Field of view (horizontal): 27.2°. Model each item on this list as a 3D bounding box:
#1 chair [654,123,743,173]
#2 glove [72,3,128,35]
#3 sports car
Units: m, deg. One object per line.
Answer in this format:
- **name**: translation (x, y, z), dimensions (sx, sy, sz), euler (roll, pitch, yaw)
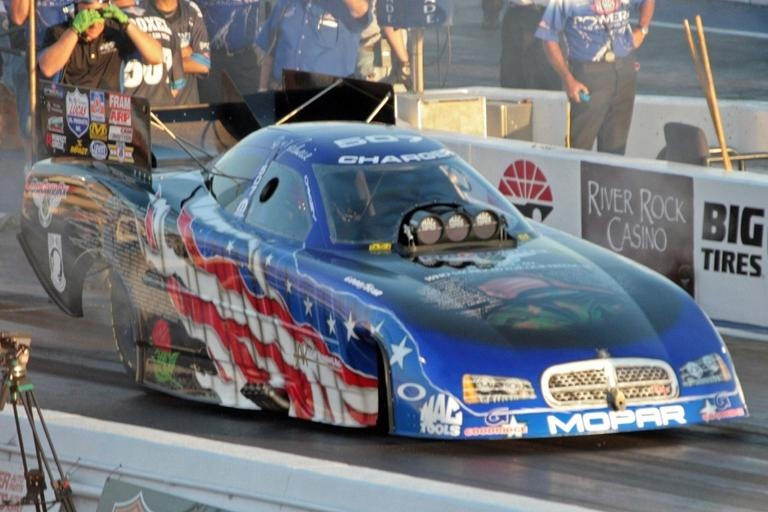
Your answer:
- **chair**: translation (3.403, -1.250, 17.388), dimensions (0.675, 0.775, 0.569), euler (-6, 13, -29)
- **glove**: translation (-3.254, -2.704, 17.990), dimensions (0.467, 0.162, 0.371), euler (-10, 2, 36)
- **sports car**: translation (-0.193, 0.066, 14.252), dimensions (6.597, 2.593, 2.215), euler (10, 13, 33)
